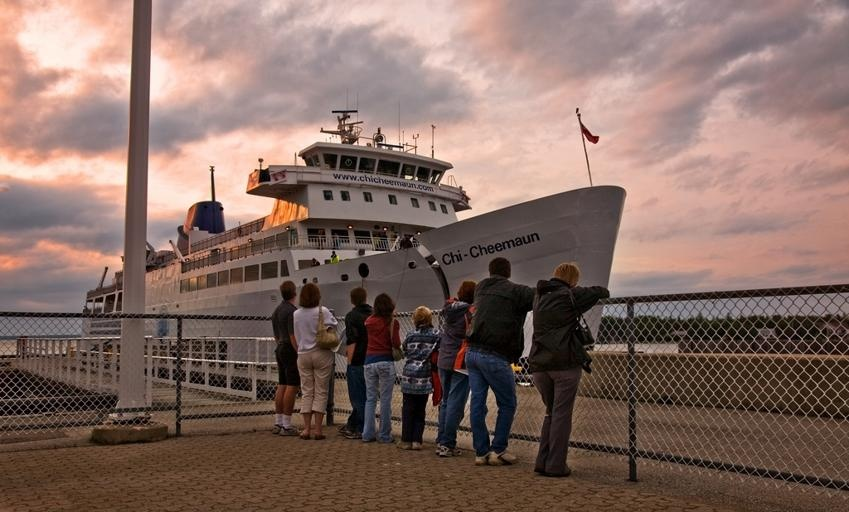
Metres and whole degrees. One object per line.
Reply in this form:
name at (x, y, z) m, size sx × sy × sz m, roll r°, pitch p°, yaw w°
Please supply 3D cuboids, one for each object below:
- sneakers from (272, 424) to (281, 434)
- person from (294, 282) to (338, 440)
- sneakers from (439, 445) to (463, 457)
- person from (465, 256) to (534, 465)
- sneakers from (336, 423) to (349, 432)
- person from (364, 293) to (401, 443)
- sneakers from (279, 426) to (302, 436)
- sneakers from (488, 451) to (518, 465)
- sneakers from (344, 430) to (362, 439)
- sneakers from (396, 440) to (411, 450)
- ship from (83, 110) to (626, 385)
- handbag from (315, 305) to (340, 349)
sneakers at (-2.597, 3.024, 10.203) m, size 0.109 × 0.112 × 0.270 m, roll 2°, pitch -2°, yaw -6°
person at (-1.866, 1.743, 9.710) m, size 0.699 × 2.585 × 0.777 m, roll 6°, pitch -9°, yaw -35°
sneakers at (0.380, 2.897, 8.678) m, size 0.340 × 0.141 × 0.136 m, roll 2°, pitch -3°, yaw -40°
person at (1.018, 1.465, 8.224) m, size 0.914 × 2.908 × 0.504 m, roll 0°, pitch -7°, yaw 6°
sneakers at (-1.461, 3.060, 10.335) m, size 0.217 × 0.105 × 0.306 m, roll 3°, pitch -11°, yaw -16°
person at (-0.703, 1.808, 9.393) m, size 0.579 × 2.371 × 0.567 m, roll 1°, pitch -7°, yaw -4°
sneakers at (-2.327, 3.022, 10.050) m, size 0.351 × 0.143 × 0.141 m, roll 1°, pitch -4°, yaw -1°
sneakers at (1.065, 2.829, 8.218) m, size 0.478 × 0.206 × 0.159 m, roll 2°, pitch -3°, yaw -12°
sneakers at (-1.202, 2.973, 9.713) m, size 0.317 × 0.135 × 0.106 m, roll -1°, pitch -3°, yaw 3°
sneakers at (-0.342, 2.940, 9.102) m, size 0.094 × 0.109 × 0.260 m, roll 3°, pitch -3°, yaw -28°
ship at (-4.495, 0.230, 27.599) m, size 8.383 × 9.975 × 31.944 m, roll 4°, pitch -8°, yaw -44°
handbag at (-1.623, 1.204, 9.642) m, size 0.351 × 0.696 × 0.271 m, roll 3°, pitch -8°, yaw -18°
